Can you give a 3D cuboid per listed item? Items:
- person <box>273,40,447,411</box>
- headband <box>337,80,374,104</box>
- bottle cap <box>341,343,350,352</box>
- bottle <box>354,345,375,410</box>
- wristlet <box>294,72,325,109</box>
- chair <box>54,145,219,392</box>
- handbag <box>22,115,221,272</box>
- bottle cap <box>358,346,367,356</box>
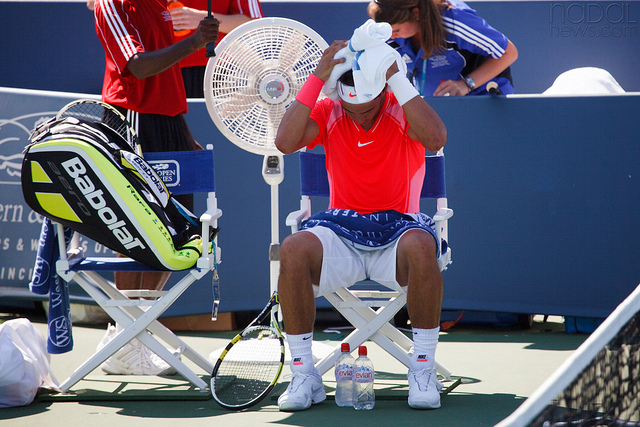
[{"bbox_3d":[0.251,0.047,6.030,1.058,2.161,0.870,0,12,0],"label":"person"},{"bbox_3d":[0.200,-0.747,6.025,0.135,0.100,0.111,-7,15,-31],"label":"headband"},{"bbox_3d":[0.156,0.824,5.971,0.043,0.044,0.045,0,-5,4],"label":"bottle cap"},{"bbox_3d":[0.272,0.984,5.924,0.121,0.358,0.217,0,12,3],"label":"bottle"},{"bbox_3d":[-0.013,-0.769,6.121,0.158,0.235,0.159,7,6,32],"label":"wristlet"},{"bbox_3d":[-1.148,0.353,6.368,0.985,1.491,1.034,1,7,-1],"label":"chair"},{"bbox_3d":[-1.239,-0.016,6.150,0.539,1.307,0.683,-35,20,40],"label":"handbag"},{"bbox_3d":[0.259,0.830,5.882,0.048,0.049,0.050,0,-5,8],"label":"bottle cap"}]
